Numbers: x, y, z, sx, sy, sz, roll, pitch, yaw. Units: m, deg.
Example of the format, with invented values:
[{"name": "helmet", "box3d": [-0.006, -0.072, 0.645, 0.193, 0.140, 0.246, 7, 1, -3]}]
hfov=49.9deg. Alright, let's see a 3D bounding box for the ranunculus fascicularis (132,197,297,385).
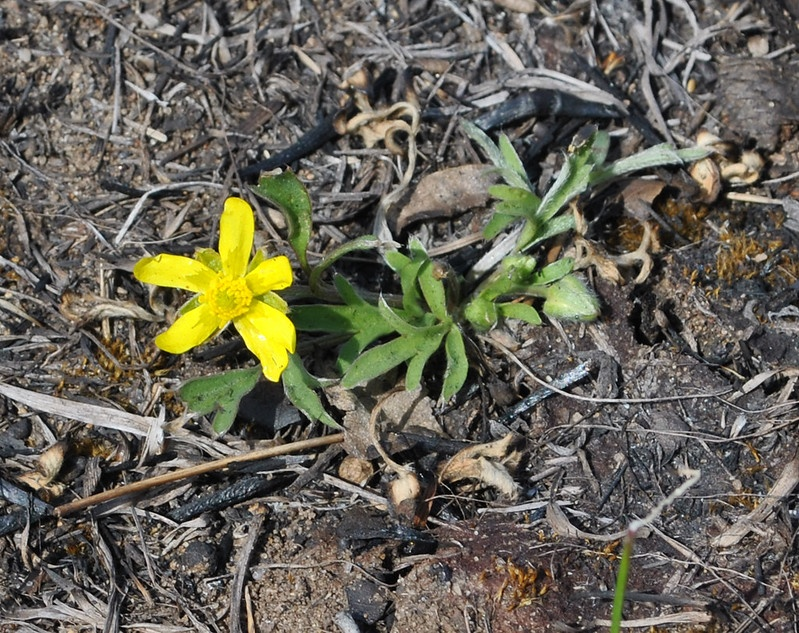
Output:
[{"name": "ranunculus fascicularis", "box3d": [-0.575, -0.142, 3.229, 0.193, 0.597, 0.543, -41, 97, -25]}]
